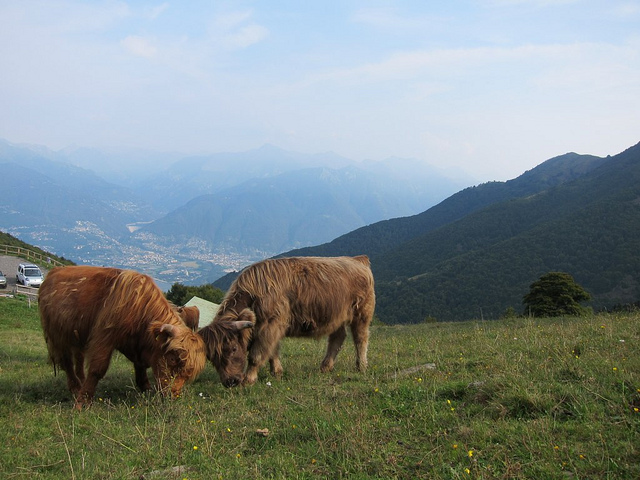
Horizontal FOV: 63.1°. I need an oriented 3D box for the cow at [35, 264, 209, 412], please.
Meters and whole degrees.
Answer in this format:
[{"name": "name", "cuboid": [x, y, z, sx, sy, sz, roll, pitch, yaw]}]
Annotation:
[{"name": "cow", "cuboid": [-4.565, 2.086, 11.531, 3.522, 3.031, 1.245, -1, -2, 14]}]
